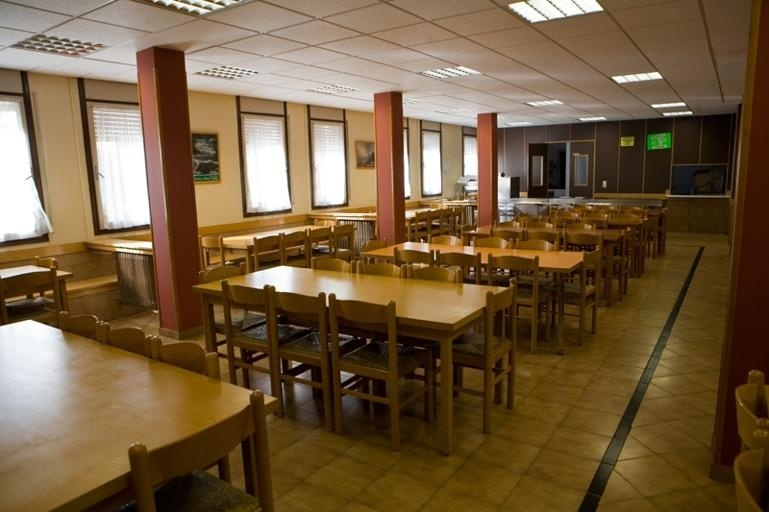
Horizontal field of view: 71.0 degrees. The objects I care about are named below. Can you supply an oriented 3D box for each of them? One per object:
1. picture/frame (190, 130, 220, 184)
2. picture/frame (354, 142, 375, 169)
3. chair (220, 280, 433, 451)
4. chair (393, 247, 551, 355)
[{"bbox_3d":[-3.074,-1.712,9.364,0.100,0.860,0.576,2,12,33],"label":"picture/frame"},{"bbox_3d":[-0.478,-2.350,12.489,0.051,0.479,0.734,5,10,30],"label":"picture/frame"},{"bbox_3d":[-0.433,0.933,4.568,1.423,0.800,0.467,6,14,33],"label":"chair"},{"bbox_3d":[0.856,0.435,5.204,1.258,0.505,0.482,2,6,35],"label":"chair"}]
